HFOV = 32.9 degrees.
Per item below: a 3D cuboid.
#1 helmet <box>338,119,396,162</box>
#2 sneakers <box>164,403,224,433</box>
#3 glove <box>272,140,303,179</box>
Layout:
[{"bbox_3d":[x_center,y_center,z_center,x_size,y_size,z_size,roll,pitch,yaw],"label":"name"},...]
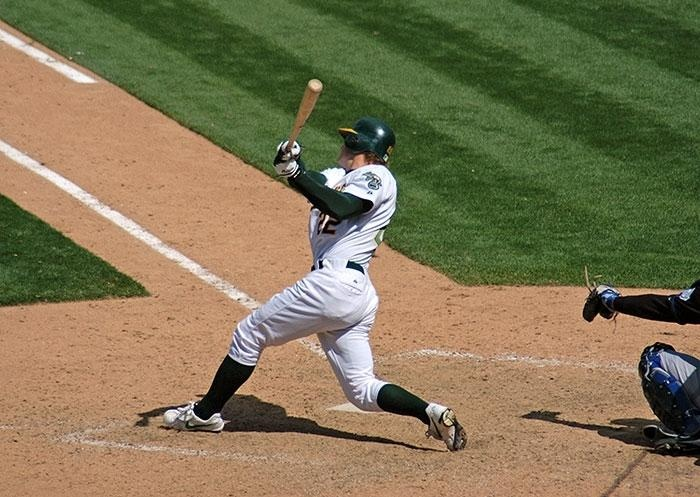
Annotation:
[{"bbox_3d":[0.199,-0.969,10.609,0.518,0.277,0.359,21,0,-1],"label":"helmet"},{"bbox_3d":[-1.389,1.528,10.721,0.639,0.217,0.221,6,7,-1],"label":"sneakers"},{"bbox_3d":[-0.526,-0.789,10.342,0.356,0.291,0.251,-9,16,-38],"label":"glove"}]
